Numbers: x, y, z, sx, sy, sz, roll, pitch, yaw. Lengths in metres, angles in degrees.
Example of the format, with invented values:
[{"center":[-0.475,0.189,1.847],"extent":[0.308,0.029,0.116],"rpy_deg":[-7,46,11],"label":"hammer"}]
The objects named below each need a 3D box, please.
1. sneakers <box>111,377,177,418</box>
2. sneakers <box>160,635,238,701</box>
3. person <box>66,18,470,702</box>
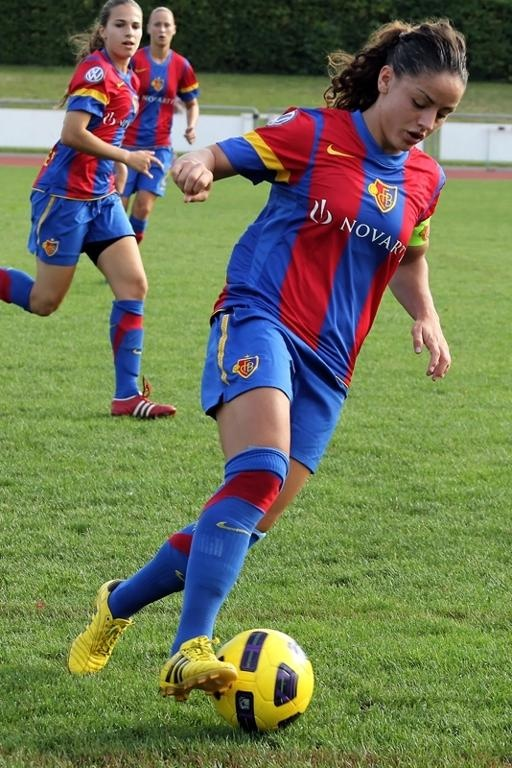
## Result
[{"center":[-0.604,0.102,4.851],"extent":[0.451,0.262,0.152],"rpy_deg":[1,1,-2],"label":"sneakers"},{"center":[-0.135,0.584,1.840],"extent":[0.076,0.220,0.108],"rpy_deg":[36,50,-23],"label":"sneakers"},{"center":[0.048,-0.160,2.086],"extent":[0.551,1.479,1.019],"rpy_deg":[15,16,9],"label":"person"}]
